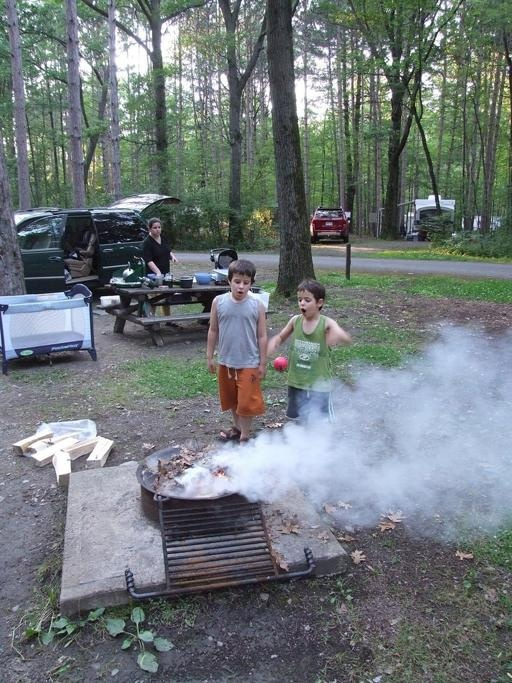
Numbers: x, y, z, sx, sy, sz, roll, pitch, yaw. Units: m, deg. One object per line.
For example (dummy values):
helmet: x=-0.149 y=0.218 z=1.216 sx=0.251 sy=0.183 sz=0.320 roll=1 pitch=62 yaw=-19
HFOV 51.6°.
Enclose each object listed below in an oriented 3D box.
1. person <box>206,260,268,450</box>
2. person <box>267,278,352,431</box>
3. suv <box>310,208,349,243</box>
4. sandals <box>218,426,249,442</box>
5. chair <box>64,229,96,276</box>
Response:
person: x=-0.126 y=0.106 z=3.436 sx=0.376 sy=1.271 sz=0.498 roll=-1 pitch=15 yaw=-1
person: x=0.327 y=0.108 z=3.265 sx=0.544 sy=0.968 sz=0.227 roll=11 pitch=19 yaw=39
suv: x=2.930 y=-4.554 z=21.300 sx=1.491 sy=1.386 sz=2.680 roll=1 pitch=26 yaw=5
sandals: x=-0.169 y=0.638 z=3.604 sx=0.086 sy=0.074 sz=0.201 roll=-3 pitch=-9 yaw=33
chair: x=-2.941 y=-1.479 z=8.984 sx=0.540 sy=0.743 sz=0.549 roll=5 pitch=11 yaw=34
